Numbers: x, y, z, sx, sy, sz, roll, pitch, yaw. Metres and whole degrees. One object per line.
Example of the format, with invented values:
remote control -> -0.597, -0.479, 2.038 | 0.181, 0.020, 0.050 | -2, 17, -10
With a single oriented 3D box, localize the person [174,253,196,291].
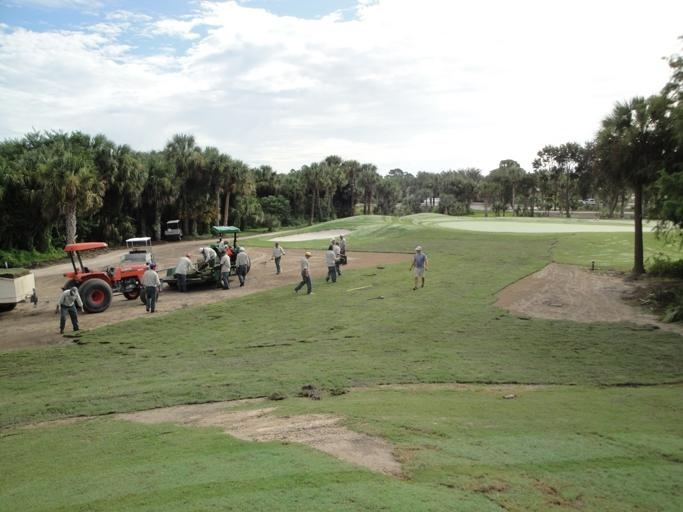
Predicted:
person -> -7.573, 0.796, 28.129 | 0.898, 1.817, 1.166 | -1, 3, -16

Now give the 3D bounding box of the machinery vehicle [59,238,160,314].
machinery vehicle -> -9.913, 0.782, 25.368 | 2.369, 2.764, 4.082 | 11, 10, 39

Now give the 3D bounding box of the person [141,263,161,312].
person -> -7.716, 1.394, 23.749 | 0.561, 1.705, 1.096 | -2, 3, -18

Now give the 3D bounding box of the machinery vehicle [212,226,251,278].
machinery vehicle -> -6.233, -0.594, 32.819 | 2.233, 2.470, 1.666 | 4, 12, -4

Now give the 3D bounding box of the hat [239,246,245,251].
hat -> -6.394, -0.513, 37.511 | 0.534, 0.242, 0.716 | -2, 5, -15
